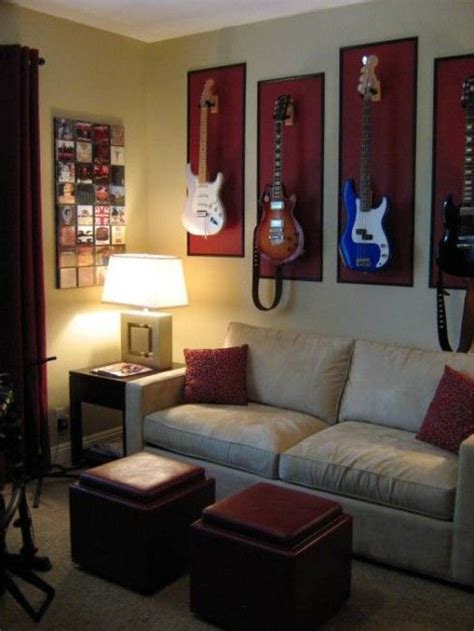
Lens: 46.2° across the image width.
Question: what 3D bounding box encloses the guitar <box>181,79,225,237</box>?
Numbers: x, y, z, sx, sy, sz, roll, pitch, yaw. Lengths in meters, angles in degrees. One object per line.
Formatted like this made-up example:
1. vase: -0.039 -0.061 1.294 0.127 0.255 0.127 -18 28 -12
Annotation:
1. guitar: -0.218 -0.993 3.510 0.307 0.949 0.190 1 8 18

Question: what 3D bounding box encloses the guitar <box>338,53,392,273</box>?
1. guitar: 0.652 -0.771 2.857 0.250 1.070 0.217 0 8 12

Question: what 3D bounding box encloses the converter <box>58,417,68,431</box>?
1. converter: -1.080 0.670 3.428 0.022 0.086 0.073 3 1 19

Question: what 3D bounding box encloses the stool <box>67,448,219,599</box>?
1. stool: -0.349 0.694 2.148 0.367 0.450 0.402 5 8 35

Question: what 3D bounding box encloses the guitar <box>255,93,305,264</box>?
1. guitar: 0.250 -0.751 3.157 0.238 0.947 0.313 -7 10 -31

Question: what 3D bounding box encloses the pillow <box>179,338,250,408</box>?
1. pillow: -0.115 0.332 3.076 0.241 0.318 0.107 -2 -27 9

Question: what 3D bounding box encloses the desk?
1. desk: -0.684 0.558 3.344 0.495 0.686 0.513 4 6 40

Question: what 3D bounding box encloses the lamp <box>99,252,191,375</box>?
1. lamp: -0.595 -0.020 3.456 0.478 0.962 0.293 8 12 38
